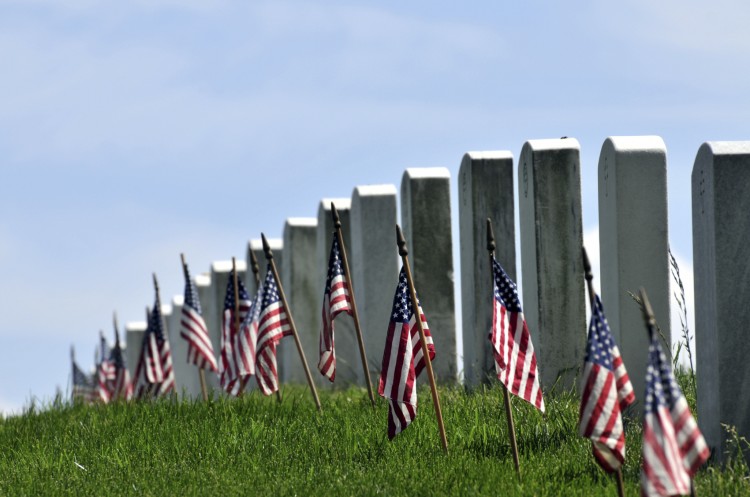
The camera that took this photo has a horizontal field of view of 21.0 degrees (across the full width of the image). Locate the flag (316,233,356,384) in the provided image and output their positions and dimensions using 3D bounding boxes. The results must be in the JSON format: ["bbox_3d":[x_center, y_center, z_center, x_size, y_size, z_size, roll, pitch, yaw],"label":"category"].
[{"bbox_3d":[-0.495,0.747,24.929,0.453,1.791,0.429,-2,-5,0],"label":"flag"}]

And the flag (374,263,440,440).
[{"bbox_3d":[0.349,1.214,23.210,0.635,1.944,0.696,-2,-5,1],"label":"flag"}]

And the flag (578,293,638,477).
[{"bbox_3d":[2.504,1.482,22.007,0.624,1.897,0.305,1,-5,-30],"label":"flag"}]
